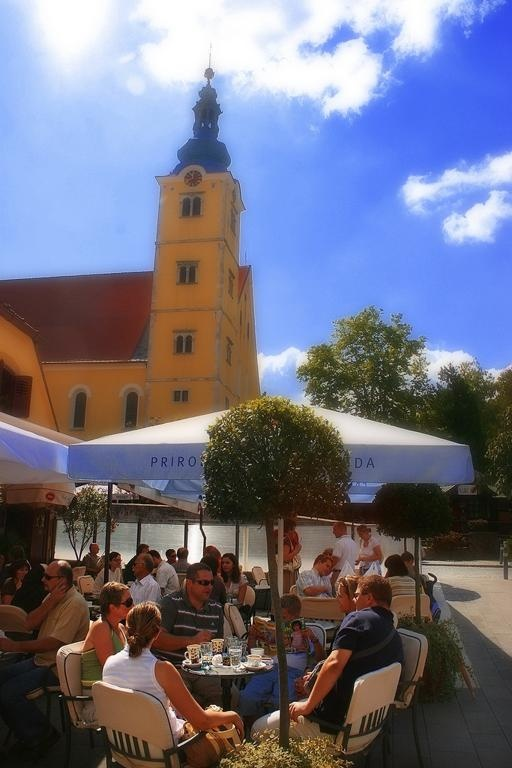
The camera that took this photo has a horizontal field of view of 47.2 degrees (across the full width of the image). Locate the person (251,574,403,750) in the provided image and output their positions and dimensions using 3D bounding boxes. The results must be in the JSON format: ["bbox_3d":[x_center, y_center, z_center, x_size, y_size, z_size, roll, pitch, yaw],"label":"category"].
[{"bbox_3d":[0.472,1.719,3.706,0.838,0.942,0.666,-6,-15,22],"label":"person"}]

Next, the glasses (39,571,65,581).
[{"bbox_3d":[-1.757,1.638,5.028,0.157,0.045,0.149,7,-8,-7],"label":"glasses"}]

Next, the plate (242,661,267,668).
[{"bbox_3d":[-0.009,2.134,4.477,0.089,0.017,0.084,3,-8,-15],"label":"plate"}]

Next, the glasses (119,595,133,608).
[{"bbox_3d":[-0.959,1.609,4.353,0.088,0.025,0.083,-2,-3,12],"label":"glasses"}]

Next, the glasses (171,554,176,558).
[{"bbox_3d":[-1.984,4.154,14.227,0.064,0.073,0.083,-10,-8,3],"label":"glasses"}]

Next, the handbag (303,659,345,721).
[{"bbox_3d":[0.411,1.768,3.470,0.263,0.352,0.152,-2,-14,5],"label":"handbag"}]

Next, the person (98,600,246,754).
[{"bbox_3d":[-0.443,1.647,3.219,0.454,0.870,0.794,-11,-17,37],"label":"person"}]
